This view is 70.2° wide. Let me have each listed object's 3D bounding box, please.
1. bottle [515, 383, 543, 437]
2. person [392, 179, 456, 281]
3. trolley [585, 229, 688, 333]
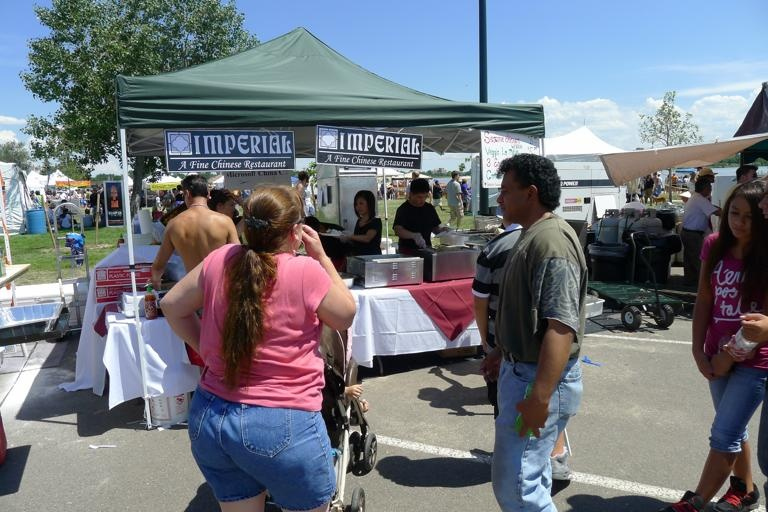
[{"bbox_3d":[0.860,0.944,3.377,0.079,0.298,0.202,7,7,36],"label":"bottle"},{"bbox_3d":[0.514,-0.451,7.607,0.739,1.279,2.093,0,7,7],"label":"person"},{"bbox_3d":[3.850,0.330,8.896,0.695,1.285,1.935,-2,7,-7],"label":"trolley"}]
